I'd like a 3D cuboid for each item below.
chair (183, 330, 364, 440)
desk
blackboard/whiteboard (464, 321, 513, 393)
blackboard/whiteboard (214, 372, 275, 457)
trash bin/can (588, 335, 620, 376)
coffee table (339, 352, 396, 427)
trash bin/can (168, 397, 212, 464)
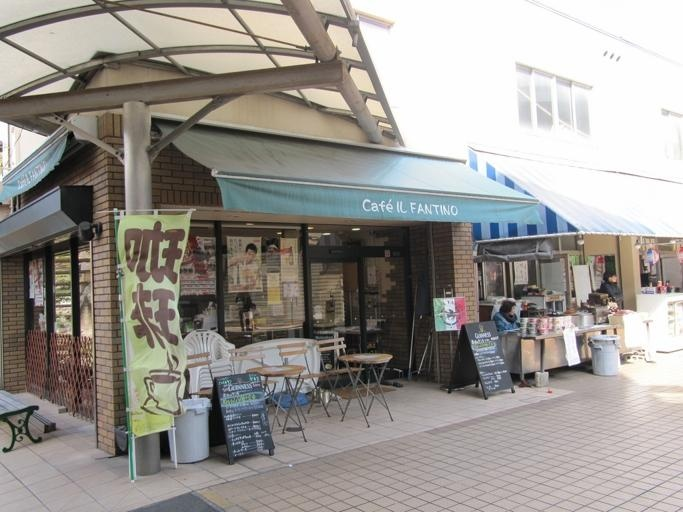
[{"bbox_3d":[-0.968,1.442,10.381,4.028,1.996,1.642,3,-9,-37],"label":"chair"},{"bbox_3d":[4.888,2.132,12.610,2.708,1.089,0.811,-4,2,-34],"label":"desk"},{"bbox_3d":[3.019,2.071,11.231,0.937,1.457,0.530,-4,2,-31],"label":"blackboard/whiteboard"},{"bbox_3d":[-1.590,2.416,8.466,0.753,1.183,0.856,-8,-13,39],"label":"blackboard/whiteboard"},{"bbox_3d":[6.023,2.261,12.797,0.782,0.844,0.867,-2,-6,3],"label":"trash bin/can"},{"bbox_3d":[0.561,2.544,11.358,1.242,1.286,1.271,-13,-18,43],"label":"coffee table"},{"bbox_3d":[-2.179,2.583,8.344,0.725,0.858,0.584,1,-5,-35],"label":"trash bin/can"}]
